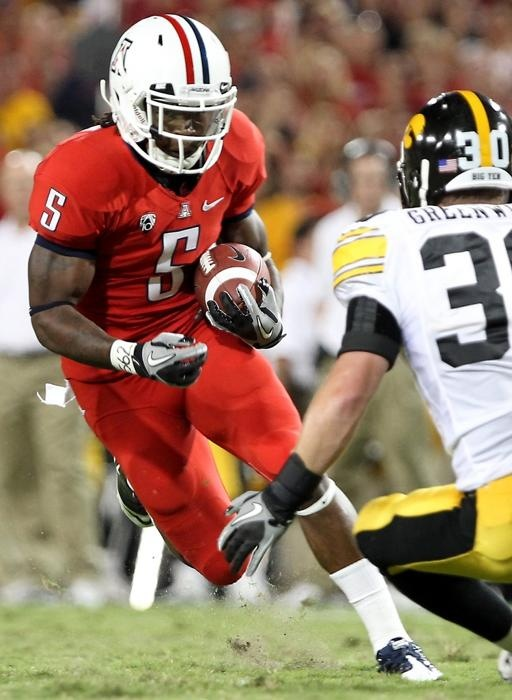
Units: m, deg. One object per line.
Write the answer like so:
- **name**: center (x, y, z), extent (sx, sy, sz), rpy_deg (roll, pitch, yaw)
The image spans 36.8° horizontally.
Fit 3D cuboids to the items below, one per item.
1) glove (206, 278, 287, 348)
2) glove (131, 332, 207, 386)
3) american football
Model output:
- **glove**: center (-0.025, -0.107, 2.257), extent (0.196, 0.106, 0.214), rpy_deg (12, 49, -24)
- **glove**: center (-0.208, 0.024, 1.886), extent (0.180, 0.065, 0.128), rpy_deg (18, 32, 28)
- **american football**: center (-0.072, -0.225, 2.310), extent (0.235, 0.219, 0.230), rpy_deg (-8, 13, -31)
